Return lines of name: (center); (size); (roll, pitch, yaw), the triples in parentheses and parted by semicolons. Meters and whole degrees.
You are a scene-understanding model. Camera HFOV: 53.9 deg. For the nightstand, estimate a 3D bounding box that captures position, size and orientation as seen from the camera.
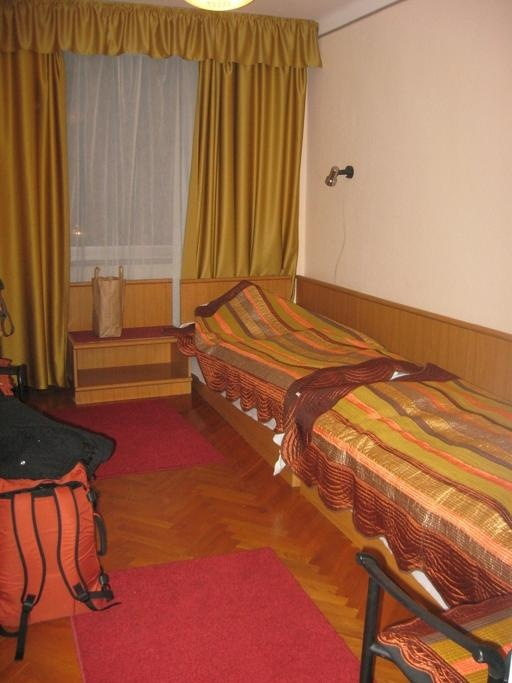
nightstand: (-1.011, 0.218, 4.037); (0.970, 0.592, 0.633); (-4, 16, -24)
